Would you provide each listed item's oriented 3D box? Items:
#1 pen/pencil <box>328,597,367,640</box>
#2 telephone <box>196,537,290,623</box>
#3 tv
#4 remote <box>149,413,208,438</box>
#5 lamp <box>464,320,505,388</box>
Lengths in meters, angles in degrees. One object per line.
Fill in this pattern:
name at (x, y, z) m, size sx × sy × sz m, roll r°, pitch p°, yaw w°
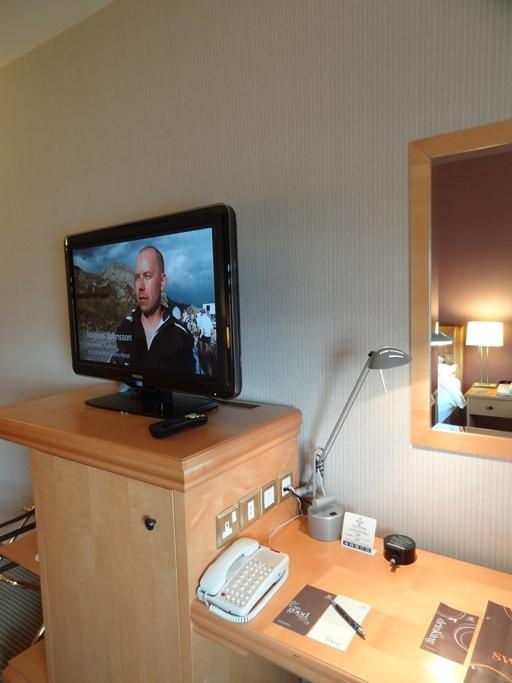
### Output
pen/pencil at (0.176, 0.549, 1.084) m, size 0.017 × 0.020 × 0.160 m, roll -4°, pitch 6°, yaw -14°
telephone at (-0.026, 0.507, 1.181) m, size 0.152 × 0.077 × 0.197 m, roll 2°, pitch 14°, yaw 38°
tv at (-0.281, -0.072, 1.519) m, size 0.578 × 0.475 × 0.173 m, roll 9°, pitch 15°, yaw 43°
remote at (-0.184, 0.185, 1.314) m, size 0.045 × 0.037 × 0.142 m, roll 7°, pitch 12°, yaw 34°
lamp at (0.502, 0.023, 1.208) m, size 0.080 × 0.136 × 0.026 m, roll 4°, pitch 13°, yaw 30°
